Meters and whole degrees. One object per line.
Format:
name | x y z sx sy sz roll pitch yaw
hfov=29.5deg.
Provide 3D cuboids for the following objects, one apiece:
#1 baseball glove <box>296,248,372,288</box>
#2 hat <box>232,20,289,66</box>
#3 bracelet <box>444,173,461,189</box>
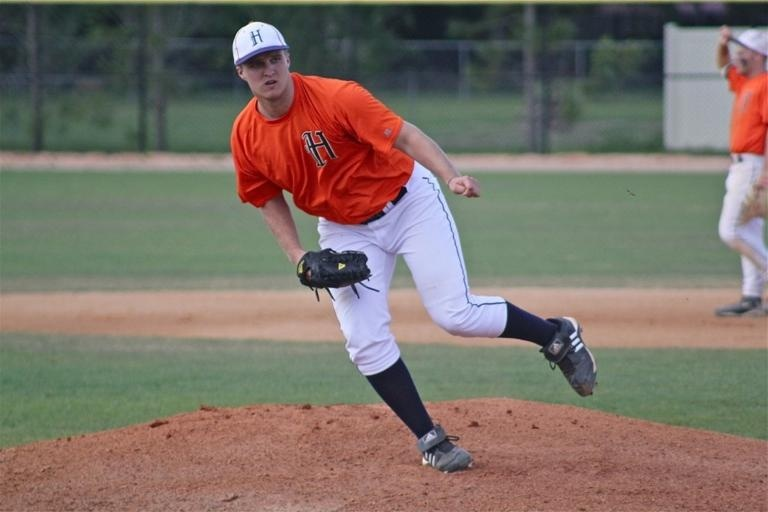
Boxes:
baseball glove | -0.442 0.117 13.089 0.602 0.300 0.248 0 4 18
hat | -1.123 -1.921 13.022 0.512 0.335 0.617 -14 15 13
bracelet | 0.613 -0.660 12.809 0.112 0.079 0.110 -36 -3 -1
